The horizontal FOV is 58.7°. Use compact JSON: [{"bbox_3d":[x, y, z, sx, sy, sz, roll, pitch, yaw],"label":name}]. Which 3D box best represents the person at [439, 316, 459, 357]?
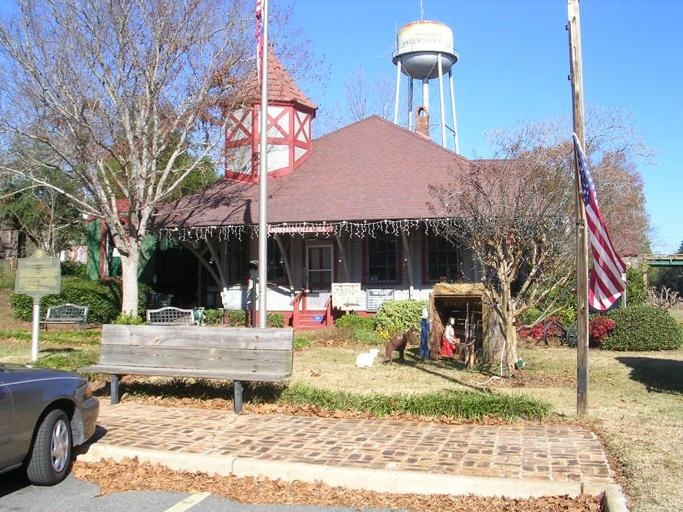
[{"bbox_3d":[2.693,2.087,15.289,0.425,1.111,1.025,0,3,10],"label":"person"}]

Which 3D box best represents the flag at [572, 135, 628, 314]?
[{"bbox_3d":[4.217,-0.541,9.972,0.787,2.928,0.718,1,3,25],"label":"flag"}]

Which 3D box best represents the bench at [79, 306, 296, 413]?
[{"bbox_3d":[-2.581,1.928,10.622,3.597,1.392,0.725,0,3,15],"label":"bench"}]
